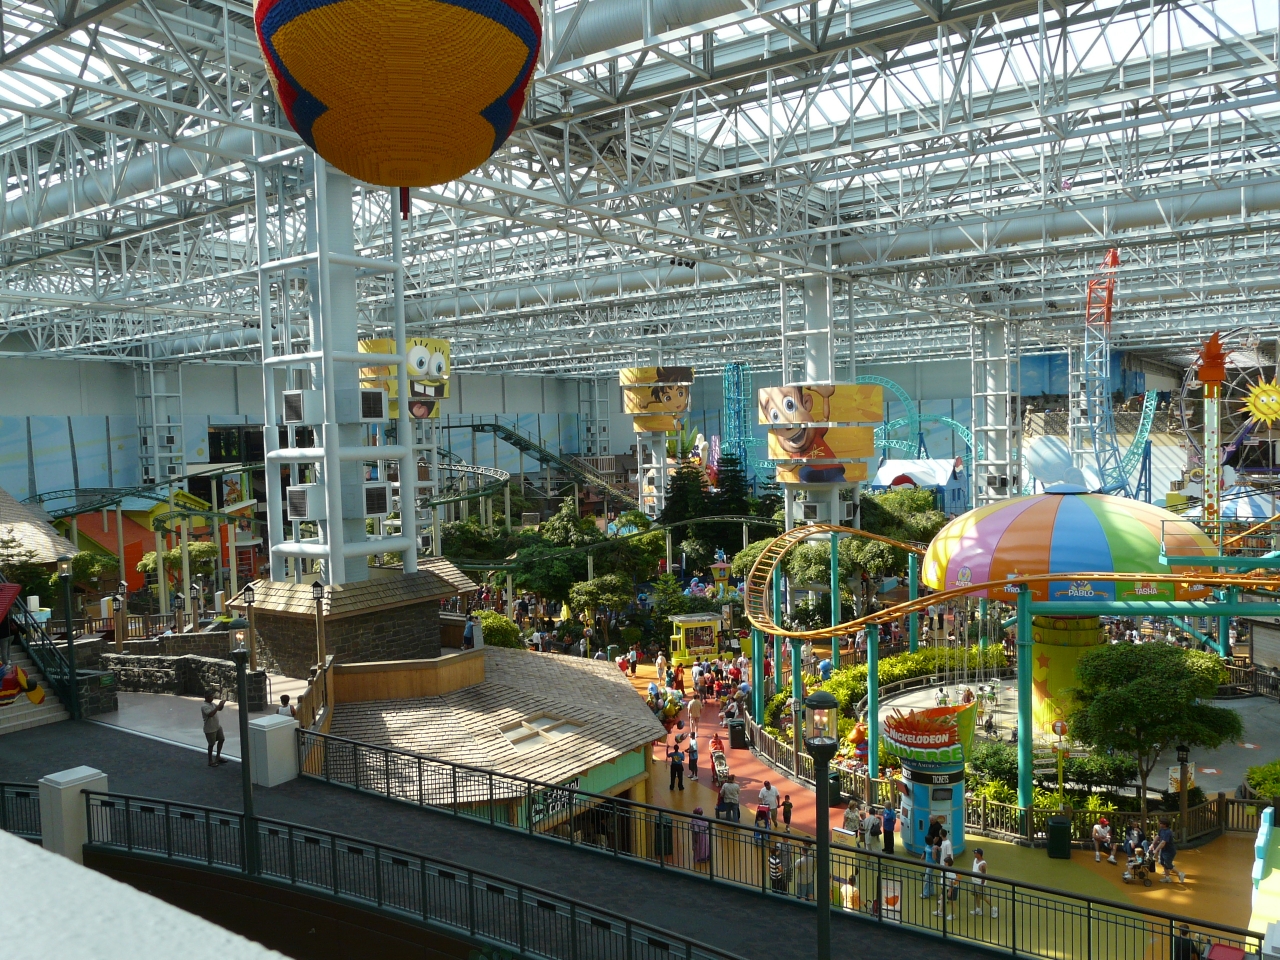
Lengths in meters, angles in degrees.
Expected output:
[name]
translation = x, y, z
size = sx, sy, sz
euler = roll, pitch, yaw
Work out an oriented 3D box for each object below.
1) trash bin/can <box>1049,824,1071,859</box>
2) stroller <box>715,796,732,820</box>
[trash bin/can]
translation = 9.268, 8.017, 30.059
size = 0.463, 0.797, 0.346
euler = 1, 3, 11
[stroller]
translation = 2.001, 7.873, 32.277
size = 0.504, 0.750, 0.423
euler = 0, -10, 3
